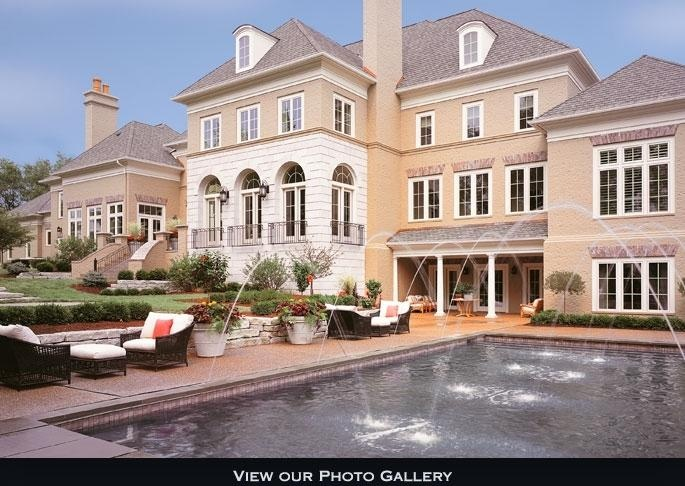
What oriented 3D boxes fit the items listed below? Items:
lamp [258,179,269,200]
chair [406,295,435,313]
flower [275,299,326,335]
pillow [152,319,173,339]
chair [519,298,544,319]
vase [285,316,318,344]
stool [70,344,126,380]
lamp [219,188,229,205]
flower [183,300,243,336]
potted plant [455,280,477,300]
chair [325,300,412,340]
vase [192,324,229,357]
[{"bbox_3d":[-3.926,-2.657,26.671,0.543,0.877,0.368,-1,-4,33],"label":"lamp"},{"bbox_3d":[4.219,3.235,28.562,1.111,0.883,3.069,0,-3,20],"label":"chair"},{"bbox_3d":[-1.403,2.253,16.617,1.151,0.660,1.071,1,3,-34],"label":"flower"},{"bbox_3d":[-4.292,2.069,12.881,0.481,0.224,0.383,4,40,12],"label":"pillow"},{"bbox_3d":[8.753,3.030,24.742,0.765,0.913,1.995,0,-3,7],"label":"chair"},{"bbox_3d":[-1.295,2.693,16.606,0.977,0.613,0.890,2,-9,-6],"label":"vase"},{"bbox_3d":[-5.254,2.368,11.657,1.127,0.513,0.812,-3,-4,40],"label":"stool"},{"bbox_3d":[-6.222,-2.470,28.004,0.496,0.797,0.315,-2,-4,36],"label":"lamp"},{"bbox_3d":[-3.284,1.888,13.878,1.074,0.506,0.984,6,-2,-2],"label":"flower"},{"bbox_3d":[6.358,2.367,27.316,1.043,0.650,0.902,2,-6,-6],"label":"potted plant"},{"bbox_3d":[0.883,2.645,18.448,1.275,1.081,3.114,-2,-4,42],"label":"chair"},{"bbox_3d":[-3.406,2.507,13.943,0.945,0.612,0.909,6,-9,-42],"label":"vase"}]
